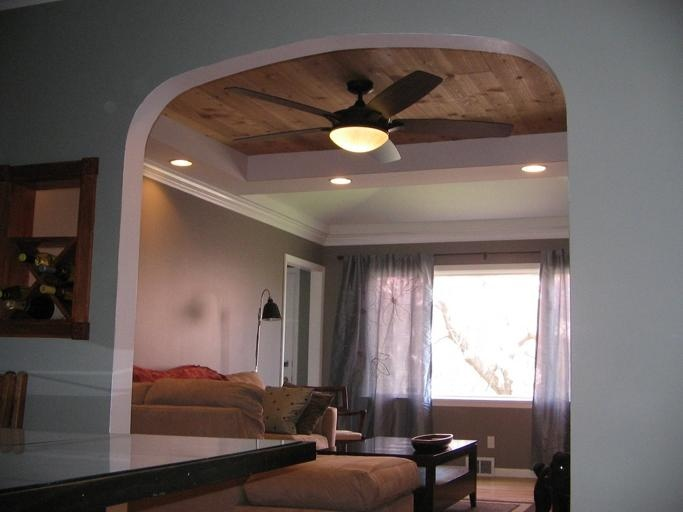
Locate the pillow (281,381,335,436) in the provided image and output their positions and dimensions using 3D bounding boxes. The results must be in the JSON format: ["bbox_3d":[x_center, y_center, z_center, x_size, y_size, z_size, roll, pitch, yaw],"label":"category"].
[{"bbox_3d":[-0.185,1.377,4.633,0.487,0.455,0.144,8,-25,31],"label":"pillow"}]

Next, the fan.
[{"bbox_3d":[0.155,-0.882,3.140,1.685,0.414,0.966,0,-9,12],"label":"fan"}]

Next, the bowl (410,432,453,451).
[{"bbox_3d":[0.764,1.478,4.234,0.303,0.078,0.212,4,-11,-31],"label":"bowl"}]

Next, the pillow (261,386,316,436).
[{"bbox_3d":[-0.452,1.235,4.373,0.428,0.394,0.126,-1,-30,24],"label":"pillow"}]

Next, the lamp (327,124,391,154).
[{"bbox_3d":[0.109,-0.702,3.187,0.290,0.071,0.283,-6,-12,42],"label":"lamp"}]

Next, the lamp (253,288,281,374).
[{"bbox_3d":[-0.812,0.797,5.805,0.241,0.930,0.760,4,-9,-9],"label":"lamp"}]
